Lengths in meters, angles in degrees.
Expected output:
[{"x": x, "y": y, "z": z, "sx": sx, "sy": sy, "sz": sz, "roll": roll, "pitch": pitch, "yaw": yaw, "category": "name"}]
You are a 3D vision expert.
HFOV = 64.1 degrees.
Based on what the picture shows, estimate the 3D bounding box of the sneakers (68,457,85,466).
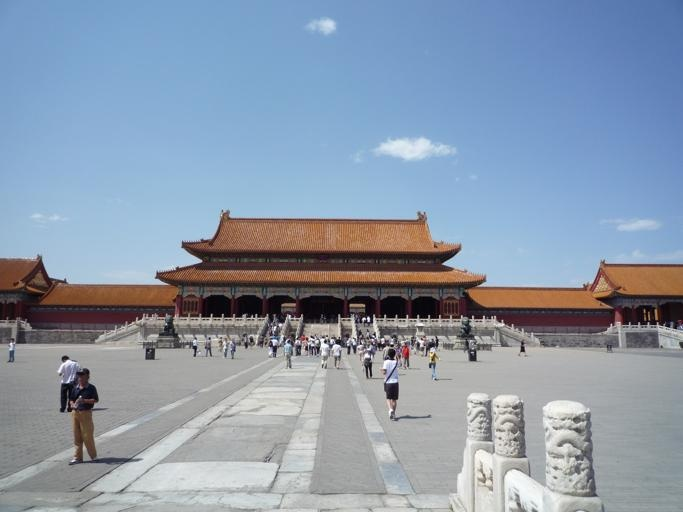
[{"x": -4.962, "y": 3.818, "z": 10.171, "sx": 0.225, "sy": 0.120, "sz": 0.272, "roll": 4, "pitch": -10, "yaw": -26, "category": "sneakers"}]

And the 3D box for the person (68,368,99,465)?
[{"x": -4.965, "y": 3.058, "z": 10.518, "sx": 0.515, "sy": 1.702, "sz": 0.781, "roll": 4, "pitch": -10, "yaw": -25, "category": "person"}]

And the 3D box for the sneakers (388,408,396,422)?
[{"x": 1.254, "y": 3.913, "z": 13.367, "sx": 0.112, "sy": 0.314, "sz": 0.139, "roll": -2, "pitch": 17, "yaw": 5, "category": "sneakers"}]

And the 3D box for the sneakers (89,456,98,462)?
[{"x": -4.648, "y": 3.817, "z": 10.236, "sx": 0.148, "sy": 0.084, "sz": 0.223, "roll": 4, "pitch": -10, "yaw": -26, "category": "sneakers"}]
